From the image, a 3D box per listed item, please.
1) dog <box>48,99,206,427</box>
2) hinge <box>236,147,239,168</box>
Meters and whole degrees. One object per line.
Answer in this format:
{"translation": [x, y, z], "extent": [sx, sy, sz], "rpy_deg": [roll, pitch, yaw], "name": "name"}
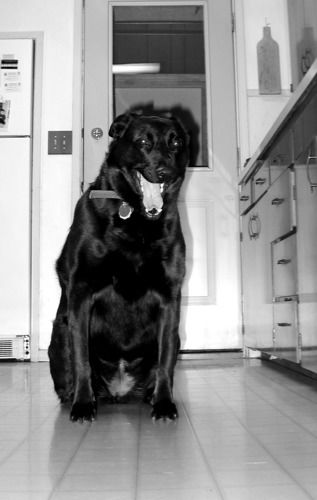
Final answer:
{"translation": [-0.114, 0.036, 1.475], "extent": [0.418, 0.829, 0.392], "rpy_deg": [0, -3, 0], "name": "dog"}
{"translation": [0.458, -0.528, 3.129], "extent": [0.020, 0.121, 0.011], "rpy_deg": [-1, -3, 19], "name": "hinge"}
